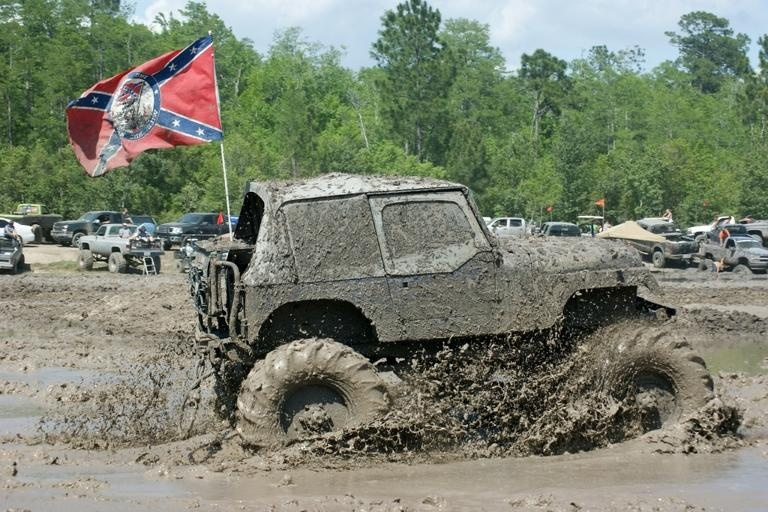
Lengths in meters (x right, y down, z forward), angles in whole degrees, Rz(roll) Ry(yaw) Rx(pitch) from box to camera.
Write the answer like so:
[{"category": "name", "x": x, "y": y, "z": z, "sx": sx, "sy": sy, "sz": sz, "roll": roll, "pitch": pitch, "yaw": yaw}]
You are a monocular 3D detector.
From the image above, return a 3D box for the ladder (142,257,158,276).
[{"category": "ladder", "x": -9.776, "y": 0.326, "z": 48.475, "sx": 0.465, "sy": 0.734, "sz": 0.669, "roll": -3, "pitch": 10, "yaw": -40}]

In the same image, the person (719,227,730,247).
[{"category": "person", "x": 15.713, "y": -0.896, "z": 53.142, "sx": 0.458, "sy": 0.802, "sz": 1.657, "roll": 6, "pitch": 8, "yaw": 15}]
